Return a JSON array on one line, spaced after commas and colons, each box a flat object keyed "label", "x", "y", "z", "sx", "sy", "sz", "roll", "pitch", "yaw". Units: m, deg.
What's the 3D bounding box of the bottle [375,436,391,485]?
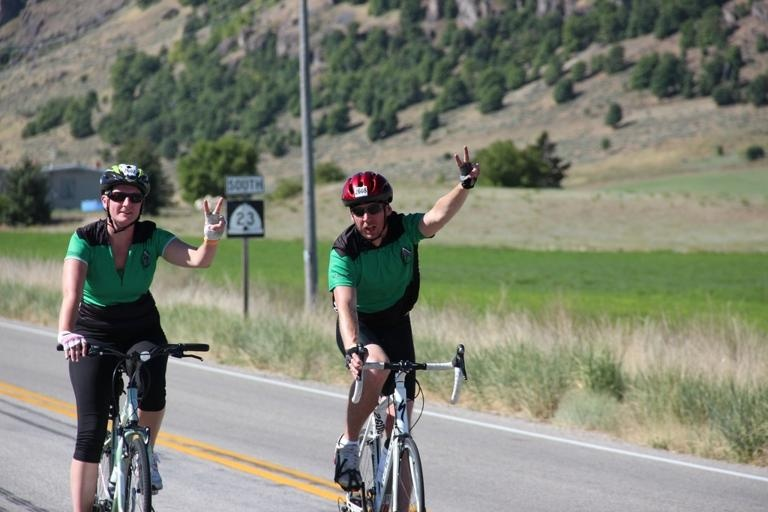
[{"label": "bottle", "x": -0.019, "y": 4.385, "z": 34.400, "sx": 0.155, "sy": 0.797, "sz": 0.444, "roll": 10, "pitch": 7, "yaw": -5}]
